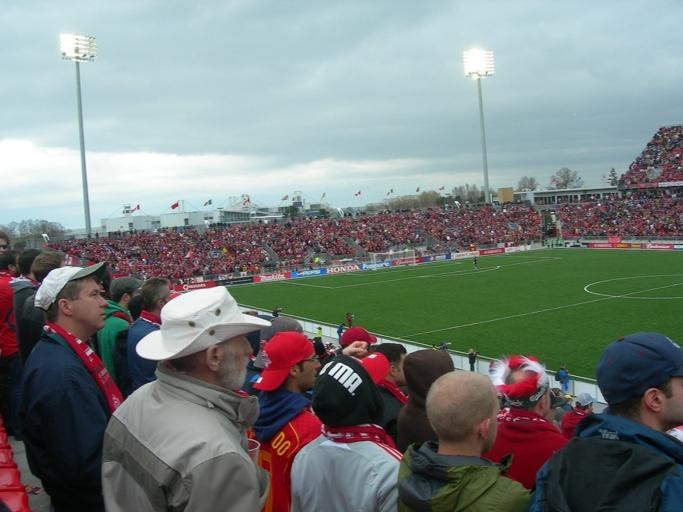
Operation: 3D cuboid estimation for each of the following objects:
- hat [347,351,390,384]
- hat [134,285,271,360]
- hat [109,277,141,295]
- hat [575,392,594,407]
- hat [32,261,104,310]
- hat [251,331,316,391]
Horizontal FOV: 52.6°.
[{"bbox_3d":[0.334,1.123,6.814,0.256,0.263,0.537,-4,4,0],"label":"hat"},{"bbox_3d":[-1.077,0.504,5.289,0.793,0.250,0.631,-18,6,-35],"label":"hat"},{"bbox_3d":[-3.034,0.420,9.639,0.403,0.271,0.350,-5,4,-17],"label":"hat"},{"bbox_3d":[3.609,2.144,10.204,0.189,0.094,0.258,-7,5,41],"label":"hat"},{"bbox_3d":[-2.636,0.302,6.645,0.631,0.405,0.365,-5,4,-22],"label":"hat"},{"bbox_3d":[-0.555,0.941,6.407,0.630,0.338,0.410,-41,25,-30],"label":"hat"}]
